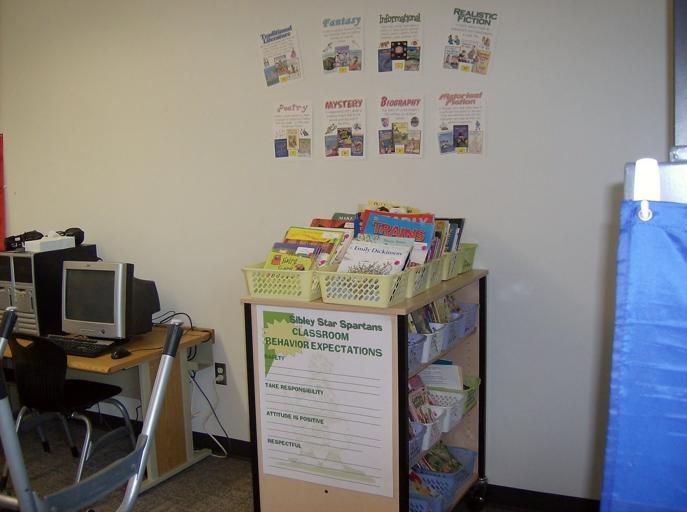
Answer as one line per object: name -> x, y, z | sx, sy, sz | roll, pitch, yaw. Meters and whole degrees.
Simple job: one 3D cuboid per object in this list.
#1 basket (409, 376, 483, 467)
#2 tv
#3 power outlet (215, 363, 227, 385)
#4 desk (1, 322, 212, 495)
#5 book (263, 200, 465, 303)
basket -> 0.451, 0.715, 2.461 | 0.274, 0.133, 0.408 | -1, 12, 29
tv -> -1.378, 0.243, 3.288 | 0.397, 0.455, 0.483 | 2, 2, 22
power outlet -> -0.783, 0.755, 3.408 | 0.088, 0.145, 0.020 | 6, 8, 29
desk -> -1.363, 0.817, 3.327 | 1.150, 0.931, 0.968 | 3, 6, 27
book -> 0.231, 0.013, 2.355 | 0.444, 0.228, 0.621 | 3, 12, 28
